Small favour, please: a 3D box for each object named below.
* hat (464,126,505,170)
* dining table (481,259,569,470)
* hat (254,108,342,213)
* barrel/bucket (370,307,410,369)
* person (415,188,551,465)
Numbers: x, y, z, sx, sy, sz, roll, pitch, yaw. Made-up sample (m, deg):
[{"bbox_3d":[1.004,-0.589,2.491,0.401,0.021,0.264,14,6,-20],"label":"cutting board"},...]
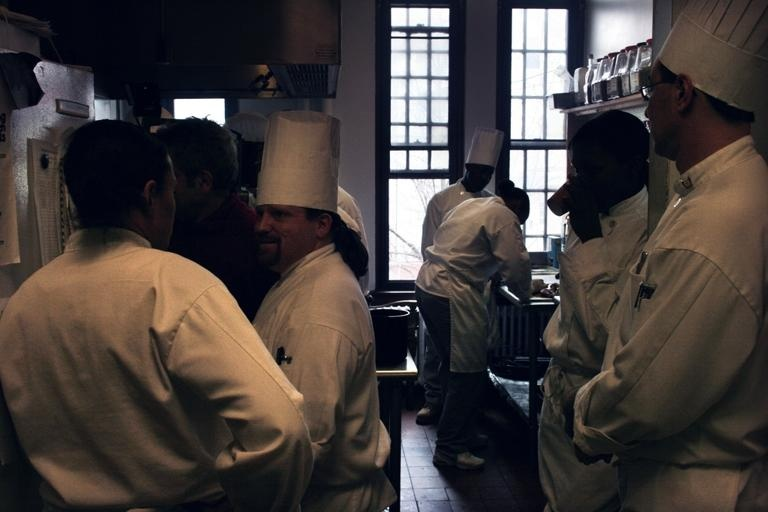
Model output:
[{"bbox_3d":[0.682,-0.695,5.137,0.241,0.280,0.255,6,-14,32],"label":"hat"},{"bbox_3d":[0.733,0.602,4.083,0.364,0.581,1.114,1,4,0],"label":"dining table"},{"bbox_3d":[-0.267,-0.279,2.463,0.305,0.337,0.299,5,0,-30],"label":"hat"},{"bbox_3d":[0.025,0.317,2.968,0.195,0.201,0.186,-1,6,0],"label":"barrel/bucket"},{"bbox_3d":[0.493,0.415,4.330,0.617,1.488,0.443,0,6,2],"label":"person"}]
